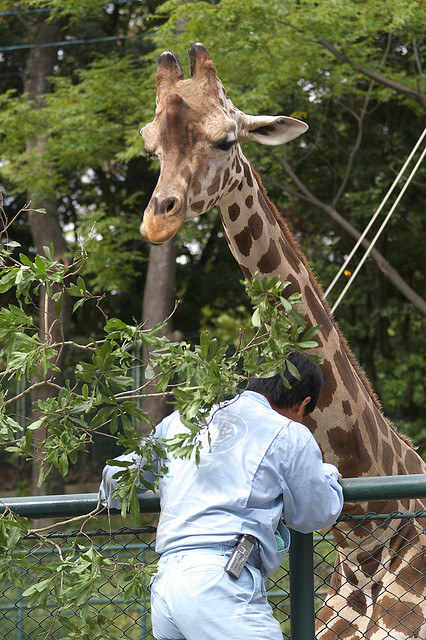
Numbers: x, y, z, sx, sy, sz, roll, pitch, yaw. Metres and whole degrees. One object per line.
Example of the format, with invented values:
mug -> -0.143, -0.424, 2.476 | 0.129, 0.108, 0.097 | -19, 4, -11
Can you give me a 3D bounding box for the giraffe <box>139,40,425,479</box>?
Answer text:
giraffe -> 0.389, -0.329, 8.710 | 1.660, 2.443, 1.064 | 2, 23, -3
